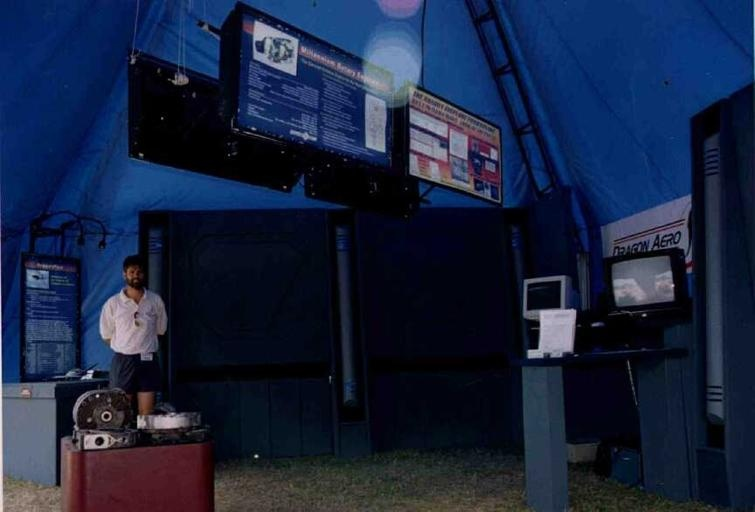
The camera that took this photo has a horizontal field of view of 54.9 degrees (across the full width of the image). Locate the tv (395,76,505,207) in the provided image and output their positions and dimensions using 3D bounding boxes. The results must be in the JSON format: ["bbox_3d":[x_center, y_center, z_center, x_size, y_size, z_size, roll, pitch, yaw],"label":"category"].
[{"bbox_3d":[0.900,-1.280,8.563,1.601,1.337,0.131,-4,2,-40],"label":"tv"}]

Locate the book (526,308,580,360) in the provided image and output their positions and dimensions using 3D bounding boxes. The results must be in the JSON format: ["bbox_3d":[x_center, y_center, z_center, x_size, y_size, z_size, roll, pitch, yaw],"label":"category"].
[{"bbox_3d":[1.638,0.752,6.713,0.438,0.598,0.383,13,-14,-43],"label":"book"}]

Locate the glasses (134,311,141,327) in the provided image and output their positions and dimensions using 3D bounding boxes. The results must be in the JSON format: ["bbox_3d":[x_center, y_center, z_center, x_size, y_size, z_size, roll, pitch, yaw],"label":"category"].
[{"bbox_3d":[-2.363,0.644,7.193,0.076,0.123,0.026,9,-6,-29],"label":"glasses"}]

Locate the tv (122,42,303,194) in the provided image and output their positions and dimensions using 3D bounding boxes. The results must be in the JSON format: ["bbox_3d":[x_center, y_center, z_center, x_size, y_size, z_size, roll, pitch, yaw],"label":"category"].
[{"bbox_3d":[-1.689,-1.328,7.229,1.519,1.230,0.325,-3,2,-37],"label":"tv"}]
